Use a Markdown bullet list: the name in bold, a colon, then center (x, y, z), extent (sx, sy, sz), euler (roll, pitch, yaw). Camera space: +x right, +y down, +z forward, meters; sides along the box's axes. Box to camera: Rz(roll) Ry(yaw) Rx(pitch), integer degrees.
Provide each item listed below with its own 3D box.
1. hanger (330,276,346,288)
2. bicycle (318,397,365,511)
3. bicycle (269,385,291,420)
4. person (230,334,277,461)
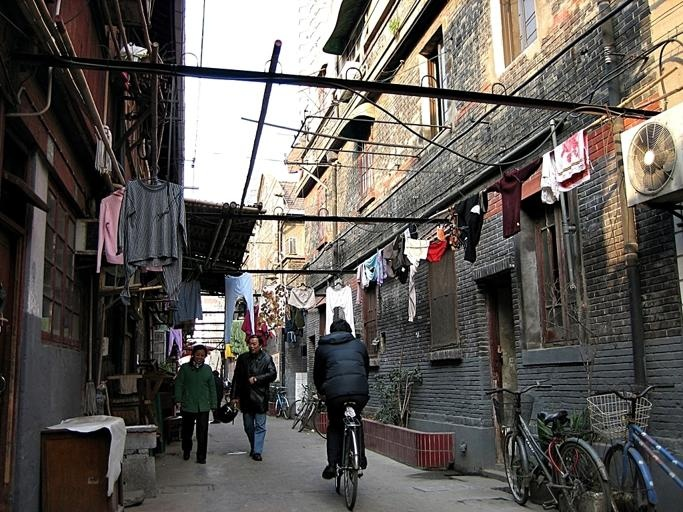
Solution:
- **hanger**: center (-0.091, 0.812, 18.673), extent (0.440, 0.098, 0.881), euler (10, -14, 4)
- **bicycle**: center (0.095, 2.650, 8.061), extent (0.313, 1.355, 1.192), euler (3, -16, -9)
- **bicycle**: center (-2.334, 6.133, 24.851), extent (0.779, 1.089, 1.707), euler (1, -2, -21)
- **person**: center (-1.688, 2.674, 11.516), extent (0.791, 2.349, 1.022), euler (7, -16, -23)
